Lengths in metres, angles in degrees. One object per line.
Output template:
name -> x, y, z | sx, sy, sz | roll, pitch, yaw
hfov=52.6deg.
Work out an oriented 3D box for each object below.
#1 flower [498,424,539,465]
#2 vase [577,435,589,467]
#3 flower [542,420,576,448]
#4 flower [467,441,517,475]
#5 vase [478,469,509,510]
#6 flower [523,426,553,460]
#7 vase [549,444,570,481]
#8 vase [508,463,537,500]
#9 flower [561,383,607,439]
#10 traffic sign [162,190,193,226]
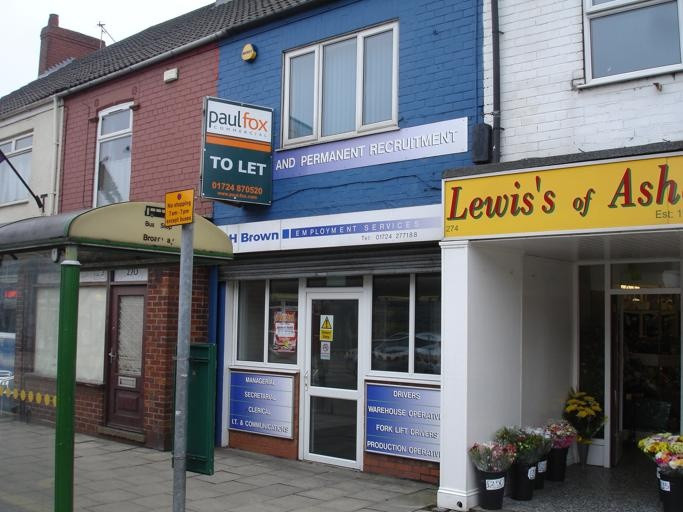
flower -> 2.257, 2.434, 8.942 | 0.463, 0.342, 0.440 | 9, -11, -38
vase -> 3.620, 2.903, 10.327 | 0.190, 0.436, 0.179 | 0, -1, 18
flower -> 2.997, 2.454, 9.502 | 0.390, 0.388, 0.403 | 1, -4, 8
flower -> 1.838, 2.468, 8.549 | 0.403, 0.262, 0.410 | -9, -13, 37
vase -> 1.841, 2.885, 8.499 | 0.438, 0.438, 0.415 | 4, -8, -20
flower -> 2.615, 2.439, 9.117 | 0.388, 0.440, 0.412 | -3, -5, 9
vase -> 2.981, 2.905, 9.708 | 0.382, 0.413, 0.411 | -4, -8, 34
vase -> 2.286, 2.897, 8.942 | 0.410, 0.452, 0.436 | -1, -9, 13
flower -> 3.600, 2.328, 10.491 | 0.645, 0.869, 0.706 | -2, -2, -15
traffic sign -> -1.650, -0.477, 6.985 | 0.468, 0.401, 0.024 | -6, -6, 42
